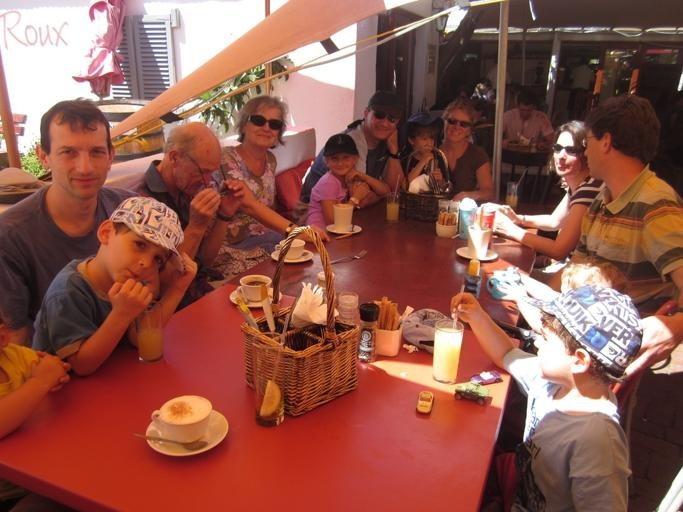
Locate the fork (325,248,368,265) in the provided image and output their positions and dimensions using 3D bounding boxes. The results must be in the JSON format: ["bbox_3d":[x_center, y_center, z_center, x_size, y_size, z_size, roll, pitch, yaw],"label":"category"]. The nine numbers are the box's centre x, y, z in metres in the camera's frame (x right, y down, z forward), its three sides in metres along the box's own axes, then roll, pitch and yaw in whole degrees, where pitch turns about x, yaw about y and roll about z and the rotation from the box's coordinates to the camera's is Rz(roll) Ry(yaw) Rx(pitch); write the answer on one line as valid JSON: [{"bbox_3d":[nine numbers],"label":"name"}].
[{"bbox_3d":[0.028,0.003,2.641,0.195,0.023,0.027,-21,46,-15],"label":"fork"}]

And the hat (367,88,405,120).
[{"bbox_3d":[0.345,-1.220,4.019,0.246,0.179,0.334,12,13,-13],"label":"hat"}]

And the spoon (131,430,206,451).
[{"bbox_3d":[-0.500,0.540,1.474,0.182,0.028,0.038,7,28,9],"label":"spoon"}]

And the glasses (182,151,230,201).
[{"bbox_3d":[-0.796,-0.432,2.890,0.072,0.245,0.235,-25,-8,13],"label":"glasses"}]

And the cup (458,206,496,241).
[{"bbox_3d":[0.780,-0.224,2.950,0.138,0.228,0.217,1,-18,42],"label":"cup"}]

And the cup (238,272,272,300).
[{"bbox_3d":[-0.370,0.101,2.141,0.123,0.076,0.142,0,15,2],"label":"cup"}]

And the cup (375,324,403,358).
[{"bbox_3d":[0.168,0.311,1.853,0.086,0.082,0.109,1,6,8],"label":"cup"}]

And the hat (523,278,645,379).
[{"bbox_3d":[0.802,0.202,1.671,0.321,0.189,0.230,48,26,17],"label":"hat"}]

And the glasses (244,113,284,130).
[{"bbox_3d":[-0.513,-0.916,3.437,0.246,0.107,0.130,-5,23,-11],"label":"glasses"}]

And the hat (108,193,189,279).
[{"bbox_3d":[-0.669,-0.076,1.822,0.253,0.147,0.188,32,-4,12],"label":"hat"}]

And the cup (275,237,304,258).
[{"bbox_3d":[-0.261,-0.053,2.701,0.104,0.064,0.130,0,7,4],"label":"cup"}]

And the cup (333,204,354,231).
[{"bbox_3d":[0.004,-0.249,3.144,0.126,0.162,0.155,-2,22,-5],"label":"cup"}]

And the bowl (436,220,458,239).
[{"bbox_3d":[0.644,-0.163,3.075,0.097,0.062,0.094,0,15,0],"label":"bowl"}]

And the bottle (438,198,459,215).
[{"bbox_3d":[0.662,-0.313,3.129,0.096,0.105,0.100,-2,12,-7],"label":"bottle"}]
